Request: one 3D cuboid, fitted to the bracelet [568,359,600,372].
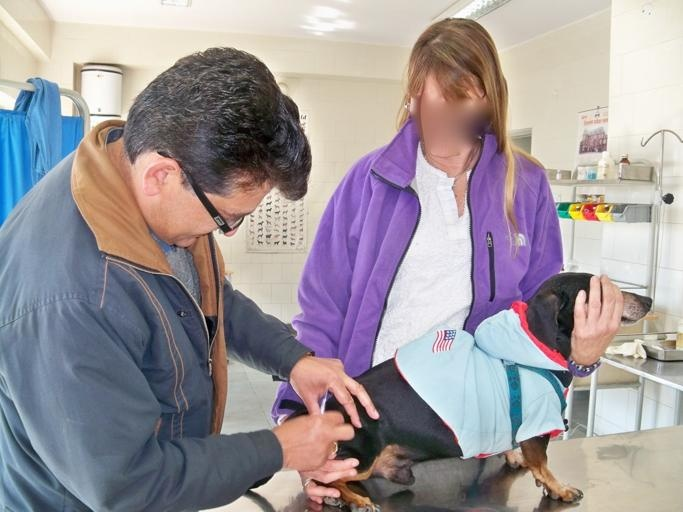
[{"bbox_3d":[0.618,0.288,1.308,0.046,0.021,0.051,1,16,5],"label":"bracelet"}]

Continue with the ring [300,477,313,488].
[{"bbox_3d":[-0.084,0.540,1.198,0.023,0.023,0.030,0,-16,-4],"label":"ring"}]

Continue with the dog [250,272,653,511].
[{"bbox_3d":[0.325,0.293,1.484,1.089,0.653,0.412,-9,36,-3],"label":"dog"}]
